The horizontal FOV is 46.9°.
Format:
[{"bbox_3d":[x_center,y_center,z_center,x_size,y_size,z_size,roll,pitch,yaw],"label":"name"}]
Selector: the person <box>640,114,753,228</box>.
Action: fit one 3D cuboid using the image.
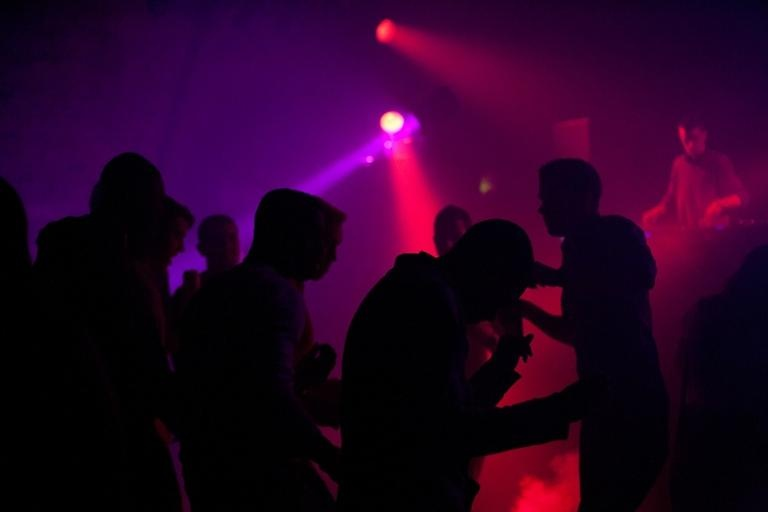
[{"bbox_3d":[3.874,-1.031,10.820,0.651,1.211,0.993,31,-33,-27],"label":"person"}]
